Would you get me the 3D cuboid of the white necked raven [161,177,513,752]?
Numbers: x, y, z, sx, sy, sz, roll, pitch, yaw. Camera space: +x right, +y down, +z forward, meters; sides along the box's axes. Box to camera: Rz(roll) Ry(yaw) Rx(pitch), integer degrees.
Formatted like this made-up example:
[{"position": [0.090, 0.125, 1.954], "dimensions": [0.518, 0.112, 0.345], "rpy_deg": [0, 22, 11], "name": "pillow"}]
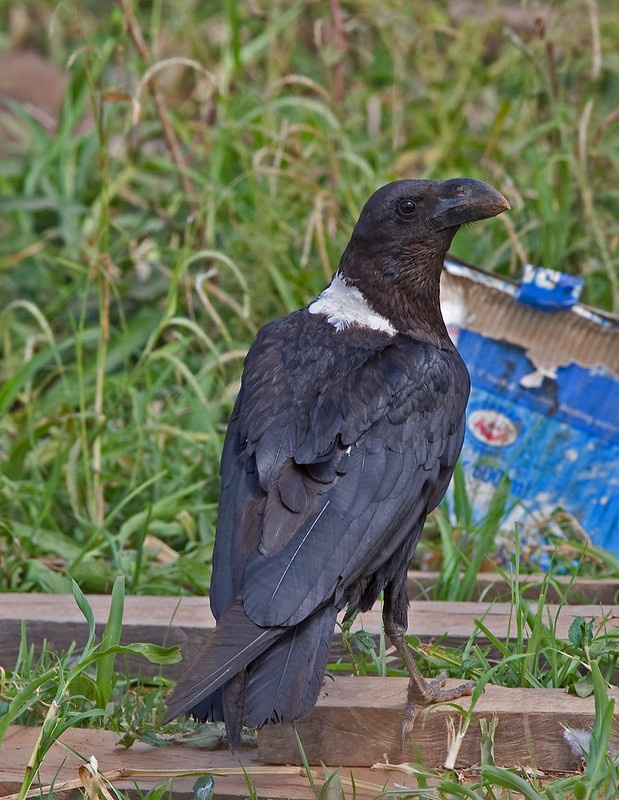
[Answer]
[{"position": [0.131, 0.064, 2.330], "dimensions": [0.594, 1.182, 1.127], "rpy_deg": [17, 17, -6], "name": "white necked raven"}]
